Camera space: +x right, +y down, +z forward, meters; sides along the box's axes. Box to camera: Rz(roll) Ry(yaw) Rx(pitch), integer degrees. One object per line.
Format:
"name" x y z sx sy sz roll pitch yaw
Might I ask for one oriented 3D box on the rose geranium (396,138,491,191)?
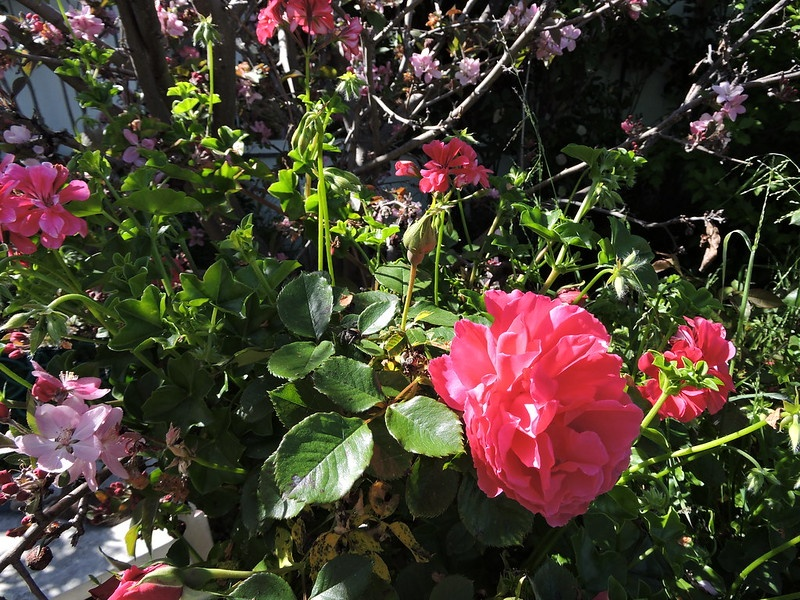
"rose geranium" 0.085 -0.249 1.343 0.153 0.073 0.141 -14 -16 37

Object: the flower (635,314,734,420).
"flower" 0.457 0.111 1.091 0.190 0.161 0.083 12 -19 1

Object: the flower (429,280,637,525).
"flower" 0.188 0.132 0.877 0.235 0.257 0.235 -17 34 -37
